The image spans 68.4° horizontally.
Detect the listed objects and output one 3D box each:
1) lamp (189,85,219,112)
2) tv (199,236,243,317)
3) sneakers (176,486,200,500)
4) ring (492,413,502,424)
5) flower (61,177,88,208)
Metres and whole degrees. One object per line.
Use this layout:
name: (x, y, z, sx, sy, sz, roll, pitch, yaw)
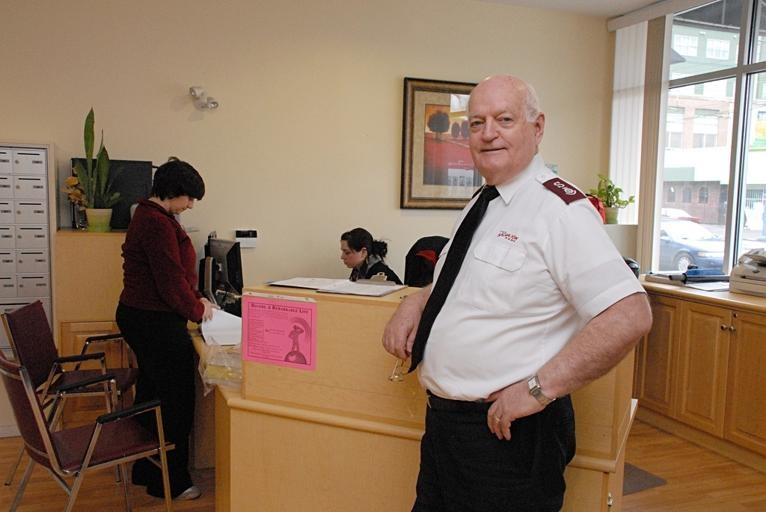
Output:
lamp: (-1.601, -1.410, 5.066, 0.263, 0.208, 0.107, -2, 8, -20)
tv: (-1.207, 0.170, 4.208, 0.208, 0.546, 0.533, -6, 11, -39)
sneakers: (-1.284, 1.553, 3.714, 0.135, 0.050, 0.071, 1, 12, -9)
ring: (0.440, 0.630, 2.185, 0.019, 0.025, 0.032, 5, 28, -35)
flower: (-2.473, -0.513, 4.512, 0.144, 0.241, 0.291, -5, 9, -34)
